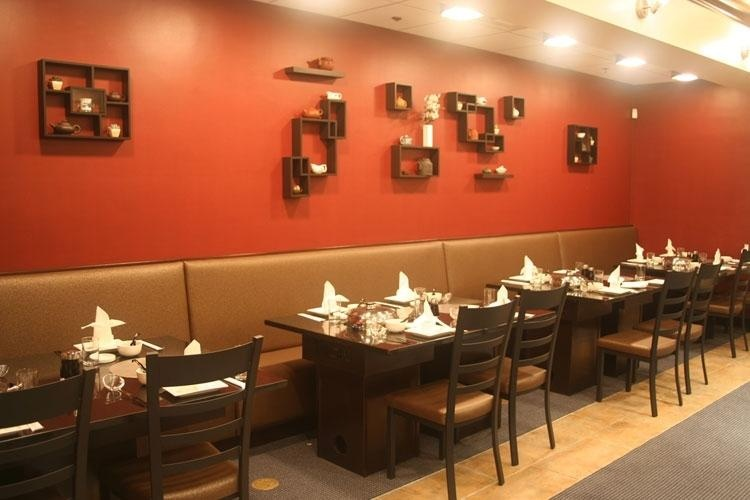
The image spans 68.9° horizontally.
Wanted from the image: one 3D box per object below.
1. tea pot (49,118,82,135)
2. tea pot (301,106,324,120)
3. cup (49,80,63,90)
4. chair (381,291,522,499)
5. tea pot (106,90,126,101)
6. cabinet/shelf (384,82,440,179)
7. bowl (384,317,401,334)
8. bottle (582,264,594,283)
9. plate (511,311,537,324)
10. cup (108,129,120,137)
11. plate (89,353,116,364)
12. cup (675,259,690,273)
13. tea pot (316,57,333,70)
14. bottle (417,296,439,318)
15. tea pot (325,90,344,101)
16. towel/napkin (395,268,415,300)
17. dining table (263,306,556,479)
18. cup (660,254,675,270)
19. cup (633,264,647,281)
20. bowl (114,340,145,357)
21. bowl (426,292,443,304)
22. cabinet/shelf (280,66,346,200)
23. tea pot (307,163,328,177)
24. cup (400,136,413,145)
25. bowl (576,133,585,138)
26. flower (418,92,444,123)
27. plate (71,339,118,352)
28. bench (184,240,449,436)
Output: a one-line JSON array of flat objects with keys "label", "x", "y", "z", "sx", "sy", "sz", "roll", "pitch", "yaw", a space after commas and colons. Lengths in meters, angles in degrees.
[{"label": "tea pot", "x": -2.363, "y": -0.930, "z": 4.194, "sx": 0.173, "sy": 0.092, "sz": 0.121, "roll": 4, "pitch": -3, "yaw": -41}, {"label": "tea pot", "x": -0.607, "y": -1.322, "z": 5.308, "sx": 0.142, "sy": 0.068, "sz": 0.169, "roll": -2, "pitch": -4, "yaw": 36}, {"label": "cup", "x": -2.409, "y": -1.245, "z": 4.131, "sx": 0.080, "sy": 0.058, "sz": 0.074, "roll": -1, "pitch": 0, "yaw": 0}, {"label": "chair", "x": 0.618, "y": 0.977, "z": 4.084, "sx": 0.812, "sy": 1.344, "sz": 1.111, "roll": 5, "pitch": 12, "yaw": 25}, {"label": "tea pot", "x": -2.076, "y": -1.202, "z": 4.355, "sx": 0.100, "sy": 0.058, "sz": 0.119, "roll": 3, "pitch": 2, "yaw": 22}, {"label": "cabinet/shelf", "x": 0.467, "y": -1.309, "z": 6.110, "sx": 0.734, "sy": 1.025, "sz": 0.295, "roll": -10, "pitch": 15, "yaw": -43}, {"label": "bowl", "x": 0.126, "y": 0.553, "z": 3.950, "sx": 0.105, "sy": 0.055, "sz": 0.103, "roll": 3, "pitch": -1, "yaw": 0}, {"label": "bottle", "x": 2.149, "y": 0.248, "z": 5.478, "sx": 0.138, "sy": 0.218, "sz": 0.143, "roll": 2, "pitch": 7, "yaw": 0}, {"label": "plate", "x": 1.178, "y": 0.525, "z": 4.311, "sx": 0.168, "sy": 0.037, "sz": 0.156, "roll": 0, "pitch": 0, "yaw": -44}, {"label": "cup", "x": -2.063, "y": -0.927, "z": 4.334, "sx": 0.074, "sy": 0.068, "sz": 0.072, "roll": 3, "pitch": 7, "yaw": 0}, {"label": "plate", "x": -1.775, "y": 0.685, "z": 3.543, "sx": 0.098, "sy": 0.017, "sz": 0.100, "roll": 7, "pitch": 8, "yaw": 33}, {"label": "cup", "x": 3.514, "y": 0.189, "z": 6.306, "sx": 0.157, "sy": 0.147, "sz": 0.162, "roll": -1, "pitch": 1, "yaw": 0}, {"label": "tea pot", "x": -0.496, "y": -1.806, "z": 5.360, "sx": 0.134, "sy": 0.093, "sz": 0.136, "roll": 1, "pitch": 3, "yaw": 0}, {"label": "bottle", "x": 0.426, "y": 0.450, "z": 4.325, "sx": 0.239, "sy": 0.158, "sz": 0.129, "roll": 4, "pitch": -7, "yaw": -42}, {"label": "tea pot", "x": -0.418, "y": -1.536, "z": 5.431, "sx": 0.158, "sy": 0.066, "sz": 0.206, "roll": 0, "pitch": 6, "yaw": -17}, {"label": "towel/napkin", "x": 0.259, "y": 0.337, "z": 5.048, "sx": 0.220, "sy": 0.229, "sz": 0.217, "roll": -4, "pitch": 2, "yaw": 26}, {"label": "dining table", "x": -0.012, "y": 1.015, "z": 4.259, "sx": 1.272, "sy": 0.852, "sz": 1.178, "roll": -2, "pitch": 3, "yaw": -44}, {"label": "cup", "x": 3.714, "y": 0.164, "z": 6.949, "sx": 0.183, "sy": 0.138, "sz": 0.208, "roll": 0, "pitch": 7, "yaw": 13}, {"label": "cup", "x": 2.924, "y": 0.250, "z": 6.031, "sx": 0.155, "sy": 0.239, "sz": 0.151, "roll": 0, "pitch": 6, "yaw": 0}, {"label": "bowl", "x": -1.668, "y": 0.666, "z": 3.700, "sx": 0.135, "sy": 0.064, "sz": 0.126, "roll": -1, "pitch": 2, "yaw": 0}, {"label": "bowl", "x": 0.476, "y": 0.394, "z": 4.449, "sx": 0.124, "sy": 0.061, "sz": 0.121, "roll": 0, "pitch": 2, "yaw": 0}, {"label": "cabinet/shelf", "x": -0.584, "y": -1.022, "z": 5.356, "sx": 0.300, "sy": 1.028, "sz": 0.685, "roll": 8, "pitch": 13, "yaw": 35}, {"label": "tea pot", "x": -0.564, "y": -0.787, "z": 5.378, "sx": 0.107, "sy": 0.106, "sz": 0.174, "roll": -2, "pitch": 0, "yaw": 38}, {"label": "cup", "x": 0.337, "y": -1.204, "z": 6.019, "sx": 0.127, "sy": 0.074, "sz": 0.124, "roll": 1, "pitch": -3, "yaw": 0}, {"label": "bowl", "x": 2.936, "y": -1.638, "z": 7.815, "sx": 0.118, "sy": 0.051, "sz": 0.114, "roll": -2, "pitch": 1, "yaw": 0}, {"label": "flower", "x": 0.615, "y": -1.586, "z": 6.151, "sx": 0.246, "sy": 0.334, "sz": 0.130, "roll": 2, "pitch": 10, "yaw": -39}, {"label": "plate", "x": -1.866, "y": 0.646, "z": 3.691, "sx": 0.233, "sy": 0.031, "sz": 0.167, "roll": 2, "pitch": -3, "yaw": -39}, {"label": "bench", "x": -0.528, "y": 0.717, "z": 4.284, "sx": 1.719, "sy": 0.723, "sz": 0.560, "roll": -4, "pitch": 0, "yaw": -37}]
